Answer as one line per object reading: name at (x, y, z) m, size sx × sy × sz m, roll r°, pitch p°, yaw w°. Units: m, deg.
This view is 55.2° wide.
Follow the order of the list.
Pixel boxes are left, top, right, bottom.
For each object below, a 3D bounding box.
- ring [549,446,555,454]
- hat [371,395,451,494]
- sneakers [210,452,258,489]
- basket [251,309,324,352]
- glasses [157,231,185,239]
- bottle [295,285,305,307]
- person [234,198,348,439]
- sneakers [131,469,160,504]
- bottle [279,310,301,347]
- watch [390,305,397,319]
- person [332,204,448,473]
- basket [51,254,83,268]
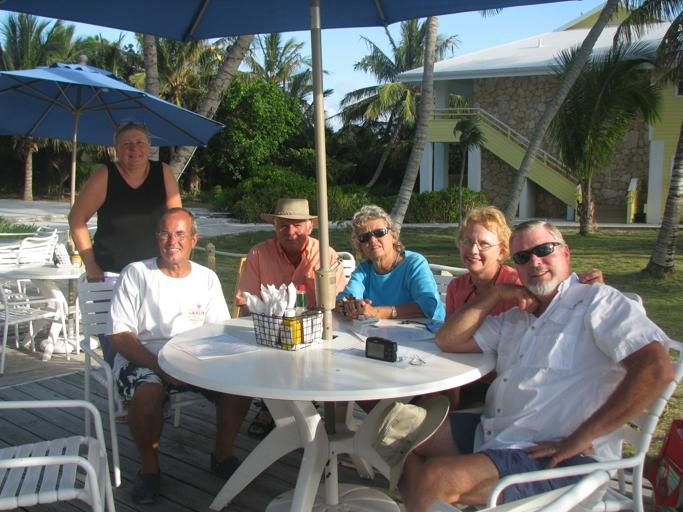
ring at (1.134, 1.034, 3.494) m, size 0.026 × 0.026 × 0.007 m, roll -18°, pitch -24°, yaw 27°
hat at (0.414, 1.046, 3.956) m, size 0.165 × 0.624 × 0.464 m, roll 32°, pitch 9°, yaw -20°
sneakers at (-0.767, 1.471, 4.542) m, size 0.304 × 0.130 × 0.112 m, roll -1°, pitch 2°, yaw 42°
basket at (-0.323, 0.440, 3.974) m, size 0.273 × 0.200 × 0.370 m, roll -7°, pitch -14°, yaw 25°
glasses at (-1.174, -0.146, 4.540) m, size 0.178 × 0.060 × 0.030 m, roll 2°, pitch 4°, yaw -6°
bottle at (-0.250, 0.243, 4.028) m, size 0.054 × 0.135 × 0.080 m, roll 1°, pitch 4°, yaw -8°
person at (-0.410, 0.496, 5.319) m, size 0.828 × 1.971 × 0.818 m, roll 4°, pitch 11°, yaw 16°
sneakers at (-1.283, 1.517, 4.323) m, size 0.193 × 0.195 × 0.155 m, roll 0°, pitch 4°, yaw -26°
bottle at (-0.341, 0.417, 3.950) m, size 0.139 × 0.273 × 0.153 m, roll 4°, pitch -6°, yaw -15°
watch at (0.380, 0.402, 4.649) m, size 0.039 × 0.065 × 0.065 m, roll -2°, pitch 9°, yaw -2°
person at (0.374, 0.392, 4.975) m, size 0.897 × 1.466 × 0.742 m, roll -3°, pitch 4°, yaw -16°
basket at (-3.078, 0.056, 7.365) m, size 0.256 × 0.073 × 0.252 m, roll 2°, pitch 3°, yaw -13°
